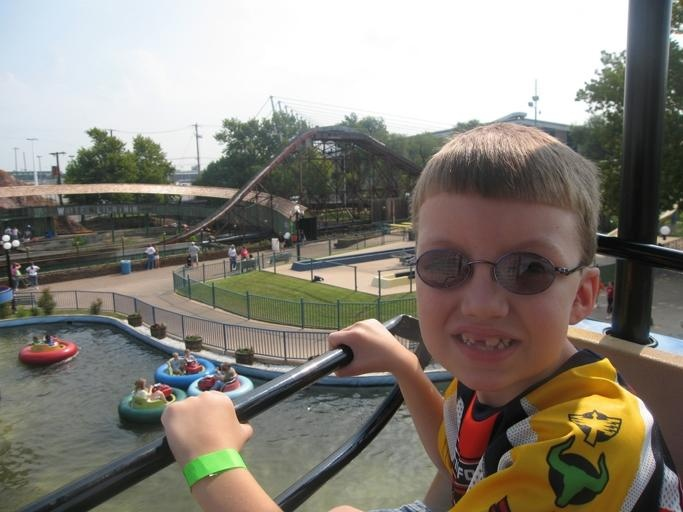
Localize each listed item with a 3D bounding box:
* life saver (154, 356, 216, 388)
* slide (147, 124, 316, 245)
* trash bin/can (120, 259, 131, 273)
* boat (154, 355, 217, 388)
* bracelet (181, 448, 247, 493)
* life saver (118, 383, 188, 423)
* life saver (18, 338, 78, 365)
[{"bbox_3d":[-4.323,3.378,15.263,1.494,0.653,1.495,11,9,35],"label":"life saver"},{"bbox_3d":[-7.709,-5.116,43.872,19.800,7.745,1.788,-11,3,6],"label":"slide"},{"bbox_3d":[-12.618,0.667,31.360,0.670,0.732,0.683,-1,1,0],"label":"trash bin/can"},{"bbox_3d":[-4.434,3.355,15.094,0.935,0.321,0.956,1,13,0],"label":"boat"},{"bbox_3d":[-0.370,0.612,1.546,0.172,0.094,0.106,-7,-8,-21],"label":"bracelet"},{"bbox_3d":[-4.803,3.897,13.732,1.781,0.510,1.864,2,8,36],"label":"life saver"},{"bbox_3d":[-9.586,3.166,17.255,1.071,0.391,1.112,9,12,16],"label":"life saver"}]
